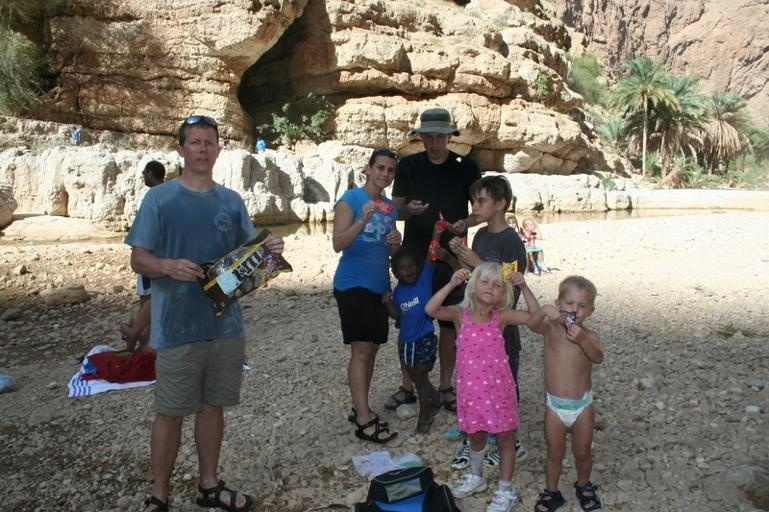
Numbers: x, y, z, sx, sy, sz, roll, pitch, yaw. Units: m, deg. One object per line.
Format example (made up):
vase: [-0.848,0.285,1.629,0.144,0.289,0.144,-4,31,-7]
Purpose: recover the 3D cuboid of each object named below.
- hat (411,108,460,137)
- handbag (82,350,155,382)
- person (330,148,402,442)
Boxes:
hat: [0.658,-1.752,7.135,0.418,0.264,0.540,1,4,4]
handbag: [-3.756,1.567,7.969,0.796,0.295,0.697,3,1,-10]
person: [-0.204,0.484,6.822,0.822,3.530,0.515,-1,5,-6]
